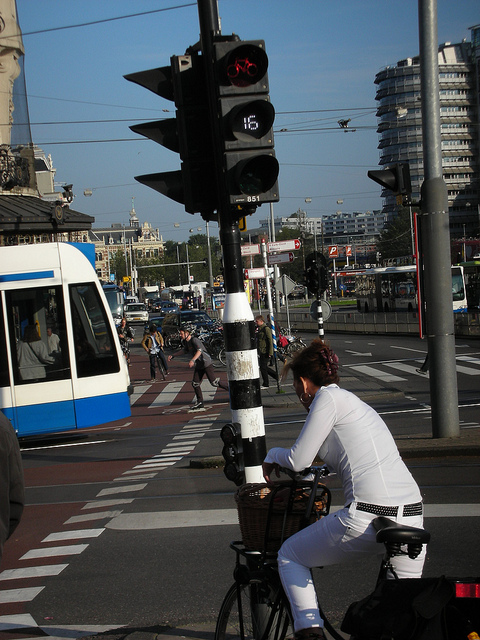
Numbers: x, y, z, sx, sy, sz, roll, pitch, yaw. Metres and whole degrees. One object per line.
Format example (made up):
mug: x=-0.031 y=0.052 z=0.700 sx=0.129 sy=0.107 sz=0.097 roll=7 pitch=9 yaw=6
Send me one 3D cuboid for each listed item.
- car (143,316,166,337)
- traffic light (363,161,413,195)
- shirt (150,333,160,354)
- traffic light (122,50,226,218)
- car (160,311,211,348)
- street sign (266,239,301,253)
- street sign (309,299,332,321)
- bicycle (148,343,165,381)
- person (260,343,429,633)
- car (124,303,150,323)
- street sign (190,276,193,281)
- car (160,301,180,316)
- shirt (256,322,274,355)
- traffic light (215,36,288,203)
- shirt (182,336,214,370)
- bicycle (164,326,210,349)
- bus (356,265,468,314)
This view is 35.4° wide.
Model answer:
car: x=-4.217 y=0.315 z=37.342 sx=1.235 sy=0.995 sz=1.955 roll=0 pitch=7 yaw=-9
traffic light: x=1.888 y=-1.794 z=9.491 sx=0.474 sy=0.428 sz=0.755 roll=-6 pitch=-1 yaw=17
shirt: x=-2.553 y=0.731 z=22.575 sx=0.258 sy=0.589 sz=0.450 roll=-6 pitch=-1 yaw=-8
traffic light: x=-0.468 y=-1.315 z=5.304 sx=0.547 sy=1.140 sz=0.188 roll=-6 pitch=-1 yaw=-24
car: x=-3.162 y=0.447 z=36.755 sx=1.639 sy=1.326 sz=2.580 roll=-4 pitch=1 yaw=-39
street sign: x=0.999 y=-1.722 z=17.450 sx=0.745 sy=0.296 sz=1.025 roll=-6 pitch=-1 yaw=3
street sign: x=1.701 y=-0.186 z=15.835 sx=0.470 sy=0.444 sz=0.112 roll=7 pitch=10 yaw=36
bicycle: x=-2.502 y=1.340 z=23.293 sx=0.505 sy=1.041 sz=0.644 roll=-4 pitch=3 yaw=-4
person: x=0.350 y=0.626 z=2.823 sx=0.628 sy=1.062 sz=0.742 roll=-7 pitch=-1 yaw=11
car: x=-8.832 y=-0.669 z=65.272 sx=1.810 sy=1.344 sz=3.055 roll=-1 pitch=-3 yaw=-8
street sign: x=-5.054 y=-4.312 z=79.356 sx=0.524 sy=0.464 sz=0.528 roll=-2 pitch=9 yaw=-15
car: x=-6.437 y=-1.085 z=69.755 sx=1.902 sy=1.413 sz=3.051 roll=-1 pitch=-4 yaw=-6
shirt: x=0.573 y=0.490 z=18.204 sx=0.345 sy=0.749 sz=0.602 roll=-6 pitch=-1 yaw=-25
traffic light: x=0.042 y=-1.303 z=4.954 sx=0.337 sy=1.087 sz=0.293 roll=-5 pitch=11 yaw=1
shirt: x=-0.906 y=0.700 z=16.005 sx=0.496 sy=0.684 sz=0.572 roll=-6 pitch=-1 yaw=-5
bicycle: x=-2.809 y=0.955 z=36.298 sx=2.101 sy=1.248 sz=1.240 roll=-3 pitch=8 yaw=8
bus: x=9.716 y=-1.929 z=48.892 sx=2.904 sy=2.512 sz=9.679 roll=-2 pitch=2 yaw=-16
